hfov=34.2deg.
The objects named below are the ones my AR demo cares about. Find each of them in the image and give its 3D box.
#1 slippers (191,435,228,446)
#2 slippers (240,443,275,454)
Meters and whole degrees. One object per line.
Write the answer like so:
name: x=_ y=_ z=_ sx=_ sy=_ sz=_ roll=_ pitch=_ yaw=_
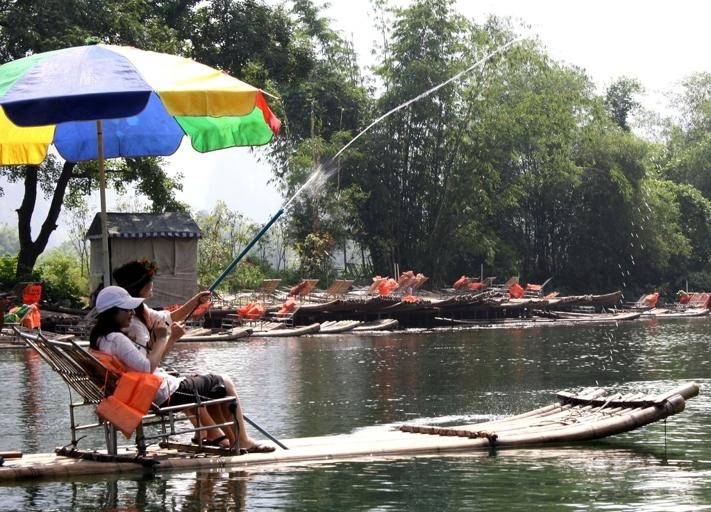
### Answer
slippers: x=-2.258 y=2.873 z=17.900 sx=0.554 sy=0.150 sz=0.201 roll=-4 pitch=-6 yaw=20
slippers: x=-1.485 y=2.986 z=17.892 sx=0.402 sy=0.105 sz=0.188 roll=-5 pitch=-5 yaw=6
